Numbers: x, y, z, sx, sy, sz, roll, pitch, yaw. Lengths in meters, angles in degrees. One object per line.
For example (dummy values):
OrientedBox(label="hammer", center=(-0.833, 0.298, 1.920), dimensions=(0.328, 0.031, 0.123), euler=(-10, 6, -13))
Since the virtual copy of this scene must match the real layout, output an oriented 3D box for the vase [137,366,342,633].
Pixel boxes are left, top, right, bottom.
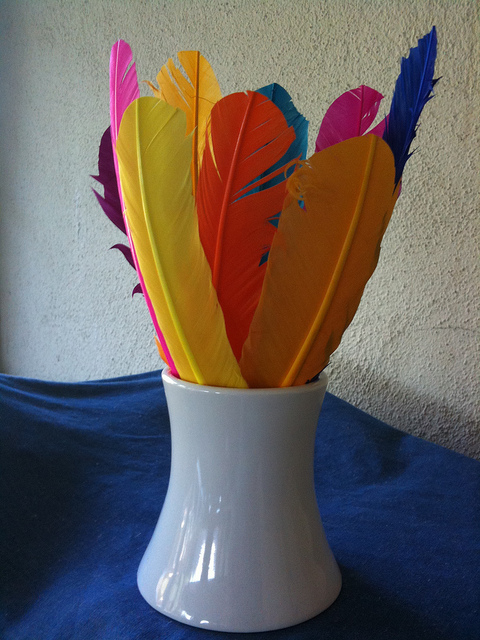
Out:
OrientedBox(label="vase", center=(0.001, 0.088, 0.387), dimensions=(0.094, 0.129, 0.104), euler=(1, 1, 1))
